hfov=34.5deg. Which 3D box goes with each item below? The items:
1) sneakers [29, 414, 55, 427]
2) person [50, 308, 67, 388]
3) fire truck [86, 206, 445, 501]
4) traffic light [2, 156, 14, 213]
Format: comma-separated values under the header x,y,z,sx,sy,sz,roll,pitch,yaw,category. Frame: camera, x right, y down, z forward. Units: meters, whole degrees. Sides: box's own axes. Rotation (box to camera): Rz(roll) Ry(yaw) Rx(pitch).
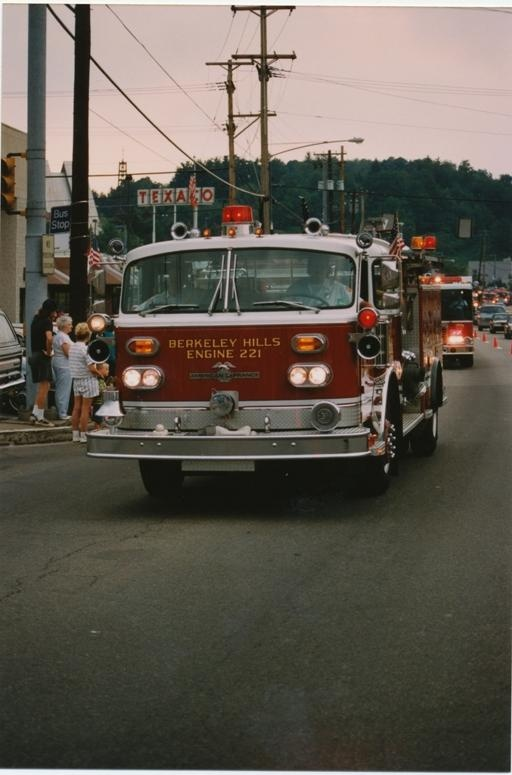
x,y,z,sx,sy,sz,roll,pitch,yaw,category
-3.832,0.599,14.650,0.534,0.245,0.215,6,4,-14,sneakers
-3.435,-0.613,14.460,0.291,1.278,1.209,-1,1,-15,person
0.455,-0.210,9.172,2.270,1.985,4.447,-1,-2,12,fire truck
-4.752,-3.919,15.766,0.247,1.129,0.540,-1,1,-22,traffic light
